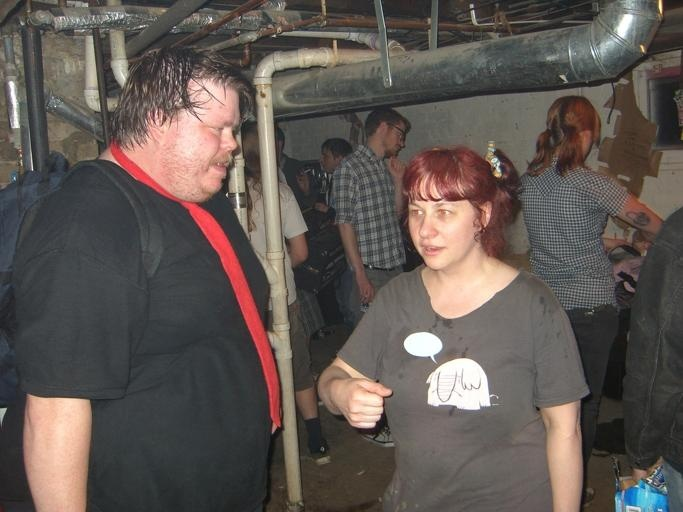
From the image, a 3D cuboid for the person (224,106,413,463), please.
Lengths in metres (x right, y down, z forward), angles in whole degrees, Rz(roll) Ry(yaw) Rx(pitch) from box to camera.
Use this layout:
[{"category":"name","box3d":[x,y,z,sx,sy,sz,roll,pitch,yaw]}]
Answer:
[{"category":"person","box3d":[-0.299,0.306,4.501,0.521,2.078,1.571,6,3,-21]}]

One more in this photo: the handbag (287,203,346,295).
[{"category":"handbag","box3d":[-0.200,-0.062,4.901,0.356,0.606,0.467,14,42,20]}]
